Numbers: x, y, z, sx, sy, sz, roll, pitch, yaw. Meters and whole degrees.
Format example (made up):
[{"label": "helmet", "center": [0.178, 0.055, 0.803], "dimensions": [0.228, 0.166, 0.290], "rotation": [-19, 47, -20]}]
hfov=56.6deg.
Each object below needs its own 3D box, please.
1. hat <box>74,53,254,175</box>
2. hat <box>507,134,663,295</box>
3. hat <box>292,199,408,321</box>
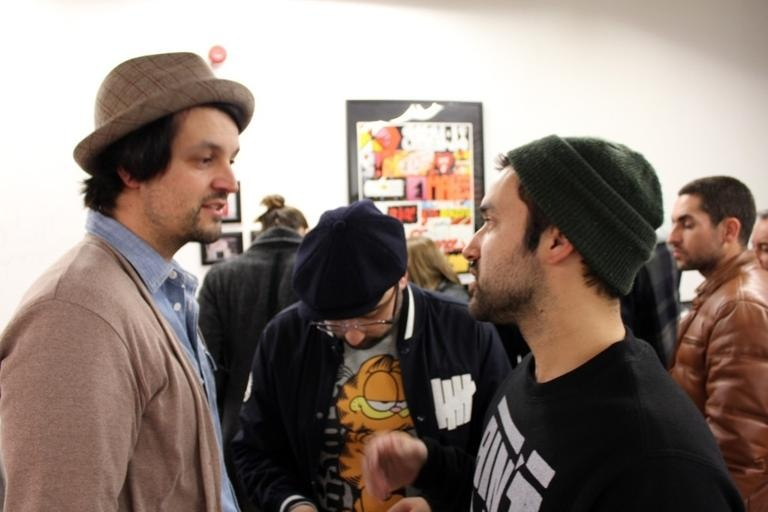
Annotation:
[{"label": "hat", "center": [-0.880, -0.524, 2.866], "dimensions": [0.561, 0.216, 0.472], "rotation": [-21, -3, -27]}, {"label": "hat", "center": [0.746, -0.209, 2.745], "dimensions": [0.414, 0.578, 0.510], "rotation": [-54, -5, 27]}, {"label": "hat", "center": [-0.154, 0.003, 3.106], "dimensions": [0.542, 0.356, 0.791], "rotation": [-4, 19, 17]}]
